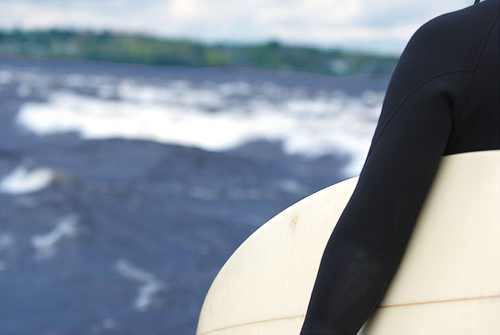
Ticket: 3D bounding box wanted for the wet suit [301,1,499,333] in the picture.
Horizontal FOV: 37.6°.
[{"bbox_3d":[0.435,0.012,2.102,0.588,0.912,0.275,-15,30,-35],"label":"wet suit"}]
